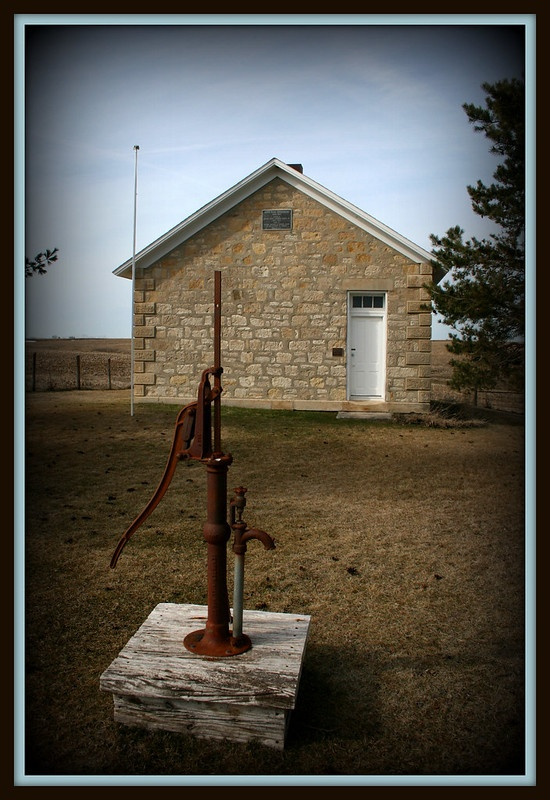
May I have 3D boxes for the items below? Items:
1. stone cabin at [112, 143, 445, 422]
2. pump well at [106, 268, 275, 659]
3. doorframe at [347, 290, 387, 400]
[{"bbox_3d":[0.320,-1.841,15.551,4.436,3.917,4.637,0,0,6],"label":"stone cabin"},{"bbox_3d":[-0.356,0.249,3.675,0.671,1.679,0.914,-1,4,-4],"label":"pump well"},{"bbox_3d":[1.607,-0.926,13.977,0.660,1.852,0.314,0,4,10],"label":"doorframe"}]
